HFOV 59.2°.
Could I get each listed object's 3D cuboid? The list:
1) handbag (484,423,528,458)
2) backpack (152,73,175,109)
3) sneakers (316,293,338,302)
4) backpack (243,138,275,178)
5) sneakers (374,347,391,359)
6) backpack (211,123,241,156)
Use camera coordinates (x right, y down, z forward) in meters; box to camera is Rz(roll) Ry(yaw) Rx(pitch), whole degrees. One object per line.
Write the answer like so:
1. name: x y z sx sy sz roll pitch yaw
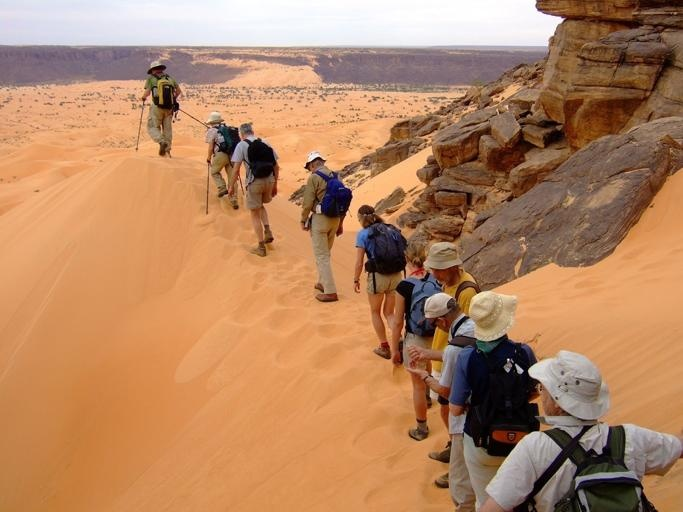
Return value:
1. handbag: 1.389 1.548 5.168 0.409 0.369 0.236 0 14 1
2. backpack: -3.670 -3.339 12.393 0.458 0.667 0.329 -6 31 -15
3. sneakers: -0.234 0.682 9.940 0.292 0.120 0.143 3 10 -4
4. backpack: -1.409 -1.648 10.186 0.557 0.720 0.405 -18 16 -36
5. sneakers: 0.573 1.345 8.351 0.093 0.108 0.247 -9 23 -34
6. backpack: -2.110 -2.145 11.051 0.575 0.588 0.411 5 16 2
